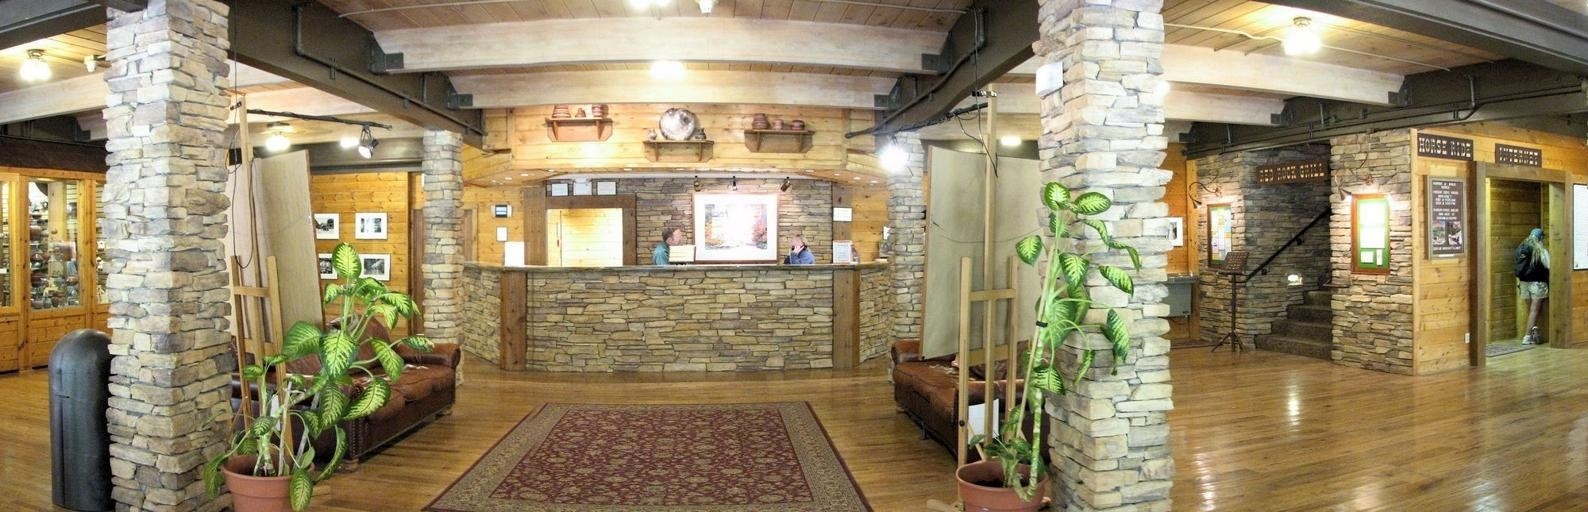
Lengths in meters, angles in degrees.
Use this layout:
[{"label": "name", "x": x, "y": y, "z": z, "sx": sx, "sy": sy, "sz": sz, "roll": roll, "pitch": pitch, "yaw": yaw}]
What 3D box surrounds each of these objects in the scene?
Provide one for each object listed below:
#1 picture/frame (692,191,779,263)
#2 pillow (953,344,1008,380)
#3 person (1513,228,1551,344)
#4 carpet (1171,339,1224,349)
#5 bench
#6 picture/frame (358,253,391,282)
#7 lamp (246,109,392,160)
[{"label": "picture/frame", "x": -1.785, "y": -0.869, "z": 23.779, "sx": 2.584, "sy": 1.685, "sz": 0.097, "roll": -1, "pitch": 1, "yaw": -2}, {"label": "pillow", "x": 4.540, "y": 2.590, "z": 18.540, "sx": 1.471, "sy": 0.802, "sz": 1.131, "roll": 1, "pitch": 3, "yaw": -1}, {"label": "person", "x": 21.177, "y": 0.975, "z": 22.314, "sx": 1.130, "sy": 3.061, "sz": 0.963, "roll": 0, "pitch": -4, "yaw": -9}, {"label": "carpet", "x": 11.738, "y": 2.582, "z": 22.742, "sx": 1.304, "sy": 0.115, "sz": 0.496, "roll": -1, "pitch": 0, "yaw": -5}, {"label": "bench", "x": 4.215, "y": 3.404, "z": 17.731, "sx": 2.885, "sy": 1.923, "sz": 3.690, "roll": 4, "pitch": 9, "yaw": -2}, {"label": "picture/frame", "x": -12.200, "y": 0.320, "z": 22.545, "sx": 1.581, "sy": 0.742, "sz": 0.093, "roll": 3, "pitch": 10, "yaw": 10}, {"label": "lamp", "x": -12.876, "y": -3.280, "z": 21.188, "sx": 2.986, "sy": 1.205, "sz": 3.854, "roll": -1, "pitch": 0, "yaw": -23}]
